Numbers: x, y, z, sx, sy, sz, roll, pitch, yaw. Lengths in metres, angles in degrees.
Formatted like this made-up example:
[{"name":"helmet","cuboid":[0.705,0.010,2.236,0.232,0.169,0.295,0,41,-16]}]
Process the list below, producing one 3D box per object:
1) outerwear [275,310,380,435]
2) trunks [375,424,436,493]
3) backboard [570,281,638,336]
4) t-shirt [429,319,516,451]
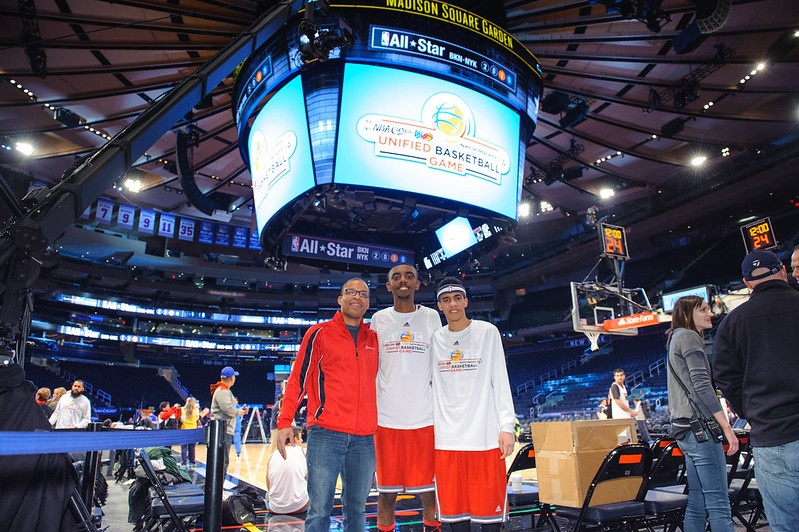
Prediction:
[{"name":"outerwear","cuboid":[-0.677,1.446,7.267,1.878,1.610,0.663,11,-15,-34]},{"name":"trunks","cuboid":[0.183,2.602,7.349,0.952,0.895,0.570,-11,-21,29]},{"name":"backboard","cuboid":[6.419,1.383,16.813,0.325,1.941,2.817,-5,-2,-22]},{"name":"t-shirt","cuboid":[0.919,1.610,7.128,1.412,1.741,0.925,-9,-17,11]}]
